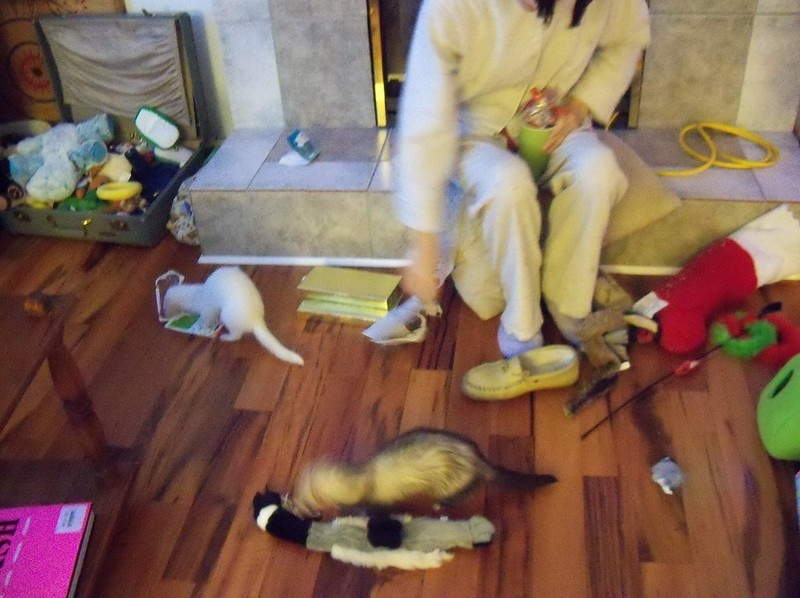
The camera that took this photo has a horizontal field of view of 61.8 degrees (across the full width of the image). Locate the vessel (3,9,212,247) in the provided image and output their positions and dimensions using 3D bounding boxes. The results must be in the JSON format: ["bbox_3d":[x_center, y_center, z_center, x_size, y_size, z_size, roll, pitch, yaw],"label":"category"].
[{"bbox_3d":[-1.237,-0.744,2.823,0.705,0.766,0.700,7,40,10],"label":"vessel"}]

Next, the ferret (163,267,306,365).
[{"bbox_3d":[-0.578,0.032,2.377,0.603,0.295,0.177,22,21,19],"label":"ferret"}]

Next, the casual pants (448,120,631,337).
[{"bbox_3d":[0.462,-0.212,2.108,0.523,0.299,0.710,-6,82,6],"label":"casual pants"}]

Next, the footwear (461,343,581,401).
[{"bbox_3d":[0.374,0.243,2.148,0.395,0.172,0.157,-12,53,4],"label":"footwear"}]

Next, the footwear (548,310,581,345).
[{"bbox_3d":[0.555,0.091,2.227,0.039,0.067,0.121,-16,51,-32],"label":"footwear"}]

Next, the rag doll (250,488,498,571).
[{"bbox_3d":[-0.059,0.643,1.863,0.745,0.182,0.229,1,31,8],"label":"rag doll"}]
